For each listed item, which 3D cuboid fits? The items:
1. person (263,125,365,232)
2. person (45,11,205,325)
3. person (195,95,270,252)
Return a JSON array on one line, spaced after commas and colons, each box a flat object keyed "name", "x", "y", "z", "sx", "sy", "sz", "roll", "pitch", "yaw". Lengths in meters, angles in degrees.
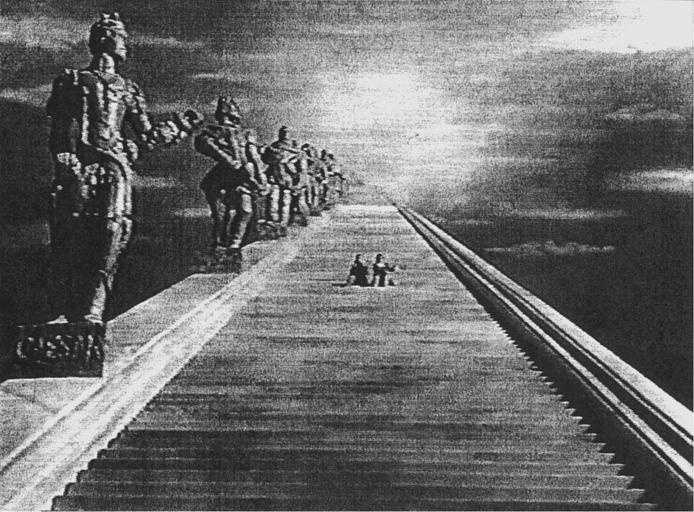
[{"name": "person", "x": -0.438, "y": -0.640, "z": 11.503, "sx": 0.800, "sy": 0.933, "sz": 0.617, "roll": 1, "pitch": -4, "yaw": 44}, {"name": "person", "x": -2.109, "y": -0.716, "z": 10.928, "sx": 0.854, "sy": 2.548, "sz": 0.421, "roll": 4, "pitch": -3, "yaw": -6}, {"name": "person", "x": -0.986, "y": -0.698, "z": 11.419, "sx": 0.693, "sy": 1.336, "sz": 0.301, "roll": 7, "pitch": -4, "yaw": -41}]
